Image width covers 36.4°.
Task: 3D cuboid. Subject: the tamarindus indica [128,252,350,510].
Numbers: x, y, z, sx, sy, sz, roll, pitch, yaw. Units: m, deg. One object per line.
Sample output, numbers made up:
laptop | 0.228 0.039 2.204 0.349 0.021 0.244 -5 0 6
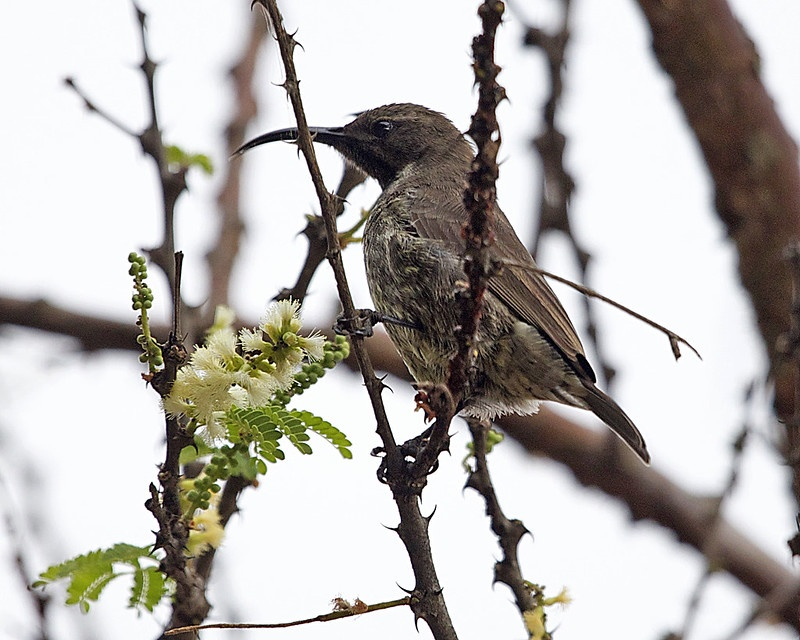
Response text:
tamarindus indica | -0.508 0.225 3.870 0.563 0.753 1.124 -3 -85 -15
